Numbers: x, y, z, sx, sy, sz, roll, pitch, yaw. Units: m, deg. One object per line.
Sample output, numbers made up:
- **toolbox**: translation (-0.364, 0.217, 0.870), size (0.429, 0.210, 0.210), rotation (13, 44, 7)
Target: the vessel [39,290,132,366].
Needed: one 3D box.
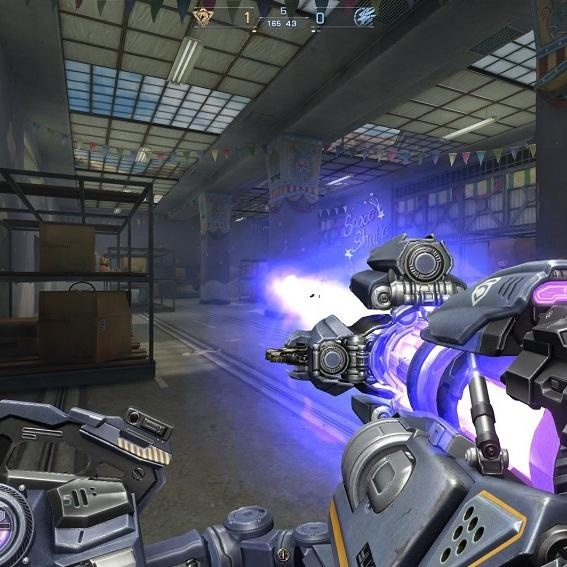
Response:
- **vessel**: translation (-2.258, 0.464, 4.590), size (1.143, 1.132, 0.833), rotation (0, 3, -18)

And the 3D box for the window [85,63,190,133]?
- **window**: translation (-3.770, -4.539, 9.373), size (2.613, 0.095, 2.639), rotation (4, -7, -42)
